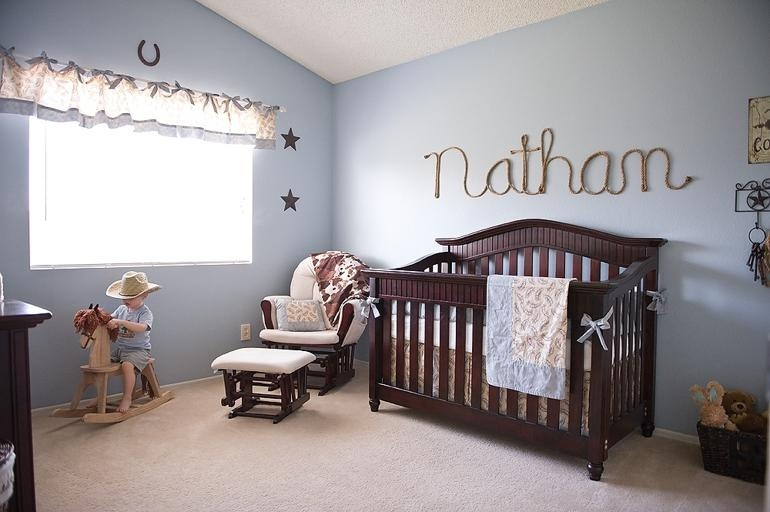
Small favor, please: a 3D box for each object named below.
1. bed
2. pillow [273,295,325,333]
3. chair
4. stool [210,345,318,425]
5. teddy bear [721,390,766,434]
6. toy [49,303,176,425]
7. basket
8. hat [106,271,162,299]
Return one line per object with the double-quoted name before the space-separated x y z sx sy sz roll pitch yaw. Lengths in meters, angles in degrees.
"bed" 0.969 0.565 4.019 1.952 1.726 0.835 2 2 30
"pillow" -0.768 0.530 4.735 0.421 0.263 0.210 1 2 -15
"chair" -0.282 0.605 4.998 1.147 1.319 1.178 0 -4 18
"stool" -0.919 0.972 4.220 0.731 0.448 0.572 -1 0 22
"teddy bear" 2.393 1.057 3.553 0.213 0.266 0.136 -2 -32 12
"toy" -2.185 0.860 4.150 0.366 0.853 0.932 -1 -1 20
"basket" 2.237 1.283 3.436 0.336 0.250 0.349 -1 -2 42
"hat" -1.983 0.252 4.218 0.259 0.114 0.316 10 12 34
